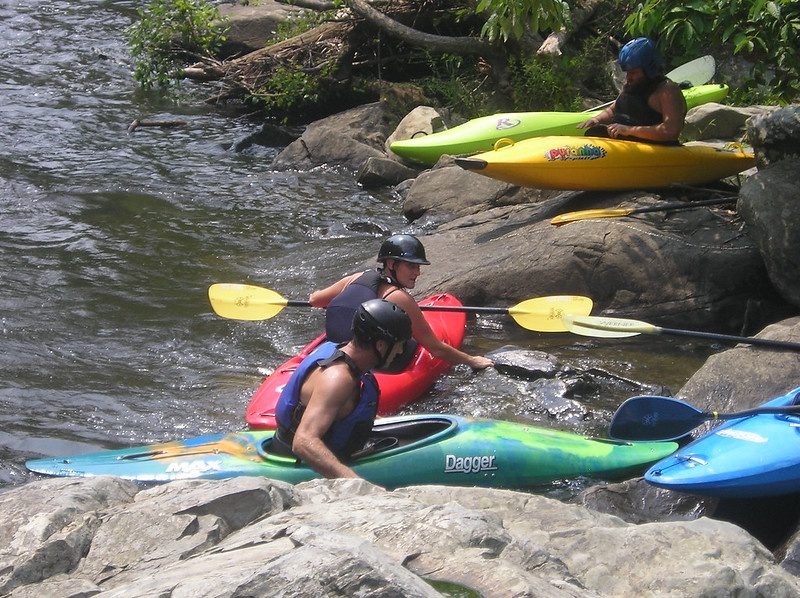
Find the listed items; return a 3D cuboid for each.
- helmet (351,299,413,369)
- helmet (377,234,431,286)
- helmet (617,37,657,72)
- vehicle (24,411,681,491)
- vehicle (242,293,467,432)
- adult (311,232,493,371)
[{"bbox_3d":[-0.154,0.268,7.889,0.334,0.510,0.273,12,18,31],"label":"helmet"},{"bbox_3d":[0.173,-0.351,9.195,0.719,0.361,0.450,1,4,7],"label":"helmet"},{"bbox_3d":[2.346,-2.395,10.550,0.381,0.323,0.230,5,14,12],"label":"helmet"},{"bbox_3d":[-0.329,1.253,8.273,4.830,0.369,0.585,-1,14,-2],"label":"vehicle"},{"bbox_3d":[-0.239,0.551,9.126,2.218,0.334,0.982,-15,25,-32],"label":"vehicle"},{"bbox_3d":[-0.026,0.036,8.970,1.559,0.528,1.708,20,23,34],"label":"adult"}]
